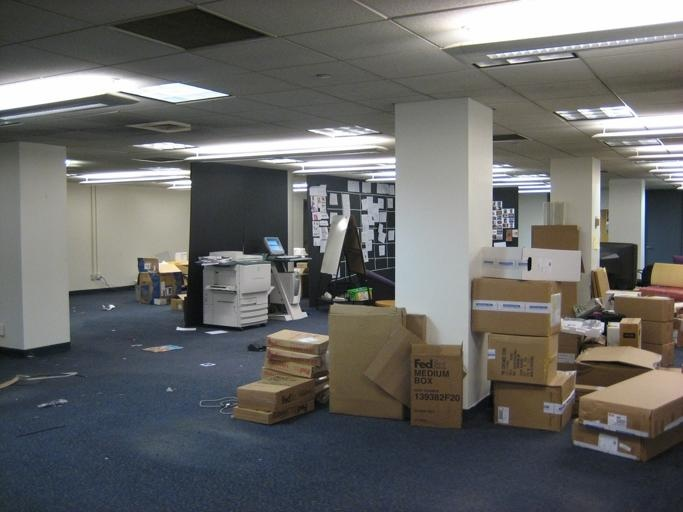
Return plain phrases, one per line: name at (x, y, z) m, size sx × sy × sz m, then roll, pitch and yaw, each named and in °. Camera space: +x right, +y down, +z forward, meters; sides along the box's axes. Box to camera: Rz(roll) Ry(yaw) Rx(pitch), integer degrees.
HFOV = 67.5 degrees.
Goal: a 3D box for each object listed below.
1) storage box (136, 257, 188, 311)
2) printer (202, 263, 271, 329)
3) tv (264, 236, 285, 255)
storage box at (-4.512, 0.759, 12.899) m, size 1.445 × 1.482 × 1.126 m, roll 2°, pitch 3°, yaw 40°
printer at (-1.870, 0.532, 9.617) m, size 1.113 × 1.275 × 1.424 m, roll 1°, pitch 2°, yaw 28°
tv at (-1.365, -0.203, 10.288) m, size 0.402 × 0.437 × 0.356 m, roll 0°, pitch -7°, yaw -43°
